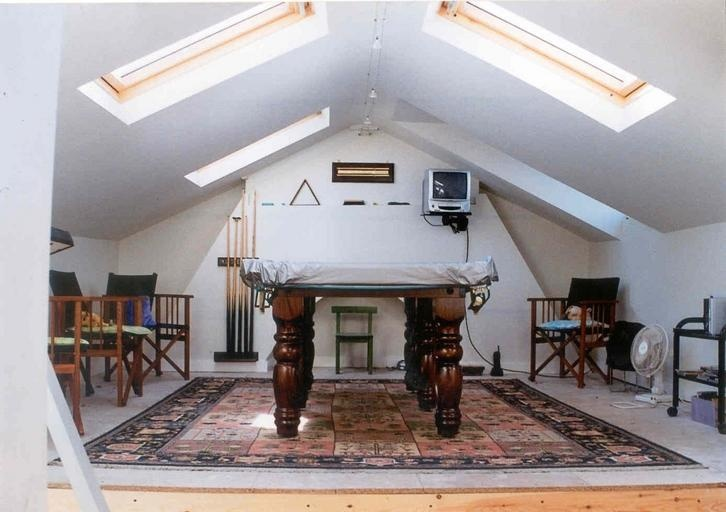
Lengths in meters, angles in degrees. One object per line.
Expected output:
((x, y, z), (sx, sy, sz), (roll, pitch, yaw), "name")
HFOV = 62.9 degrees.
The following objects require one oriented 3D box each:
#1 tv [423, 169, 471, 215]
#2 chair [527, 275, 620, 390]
((1.048, -0.762, 7.466), (0.520, 0.539, 0.541), (1, -8, -2), "tv")
((2.429, 0.818, 6.859), (0.803, 1.157, 0.925), (2, -1, -38), "chair")
